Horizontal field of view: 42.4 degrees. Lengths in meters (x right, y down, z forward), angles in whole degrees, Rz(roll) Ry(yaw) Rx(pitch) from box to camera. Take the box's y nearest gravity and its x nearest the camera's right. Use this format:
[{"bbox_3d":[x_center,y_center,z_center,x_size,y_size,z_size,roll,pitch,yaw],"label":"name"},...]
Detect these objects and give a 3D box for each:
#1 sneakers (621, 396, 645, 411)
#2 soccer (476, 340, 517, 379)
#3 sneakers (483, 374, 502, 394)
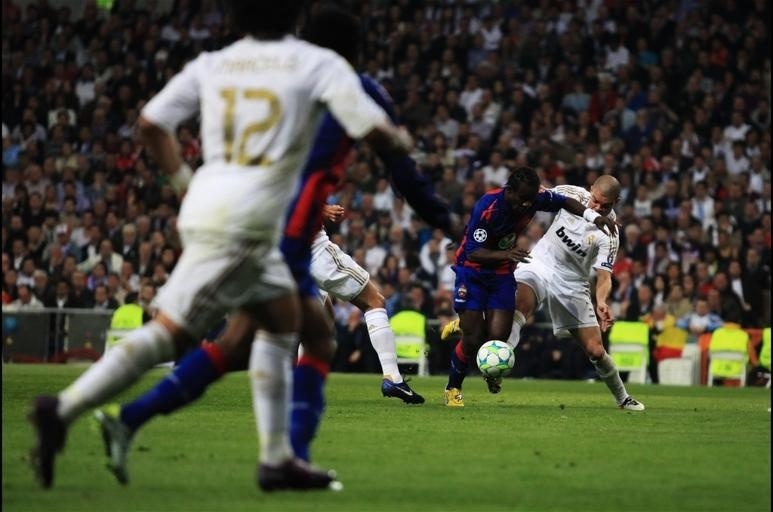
[{"bbox_3d":[2.859,1.689,11.527,0.254,0.121,0.137,2,11,17],"label":"sneakers"},{"bbox_3d":[1.233,1.202,11.326,0.409,0.427,0.413,5,8,34],"label":"soccer"},{"bbox_3d":[1.238,1.476,11.566,0.169,0.256,0.526,2,-9,8],"label":"sneakers"}]
